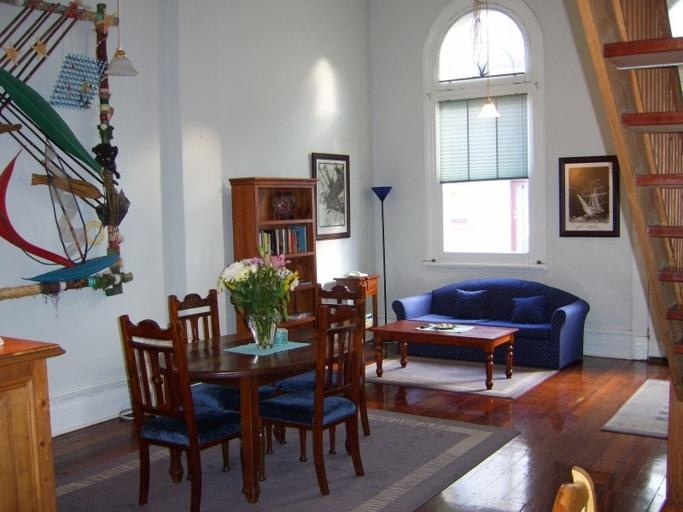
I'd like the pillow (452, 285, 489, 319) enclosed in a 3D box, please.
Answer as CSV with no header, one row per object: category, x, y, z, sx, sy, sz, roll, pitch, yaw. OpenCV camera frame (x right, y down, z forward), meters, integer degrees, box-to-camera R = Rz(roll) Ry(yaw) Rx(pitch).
pillow,1.888,0.670,7.850,0.412,0.435,0.155,1,-22,22

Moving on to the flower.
flower,-0.703,0.346,4.396,0.653,0.727,0.634,-4,0,-31

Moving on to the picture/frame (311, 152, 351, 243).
picture/frame,-0.144,-0.918,8.265,0.041,1.310,0.937,2,5,35

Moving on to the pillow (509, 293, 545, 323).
pillow,2.545,0.716,7.387,0.330,0.342,0.148,2,-29,19

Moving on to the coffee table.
coffee table,1.320,1.180,6.881,1.665,0.630,0.986,0,4,25
